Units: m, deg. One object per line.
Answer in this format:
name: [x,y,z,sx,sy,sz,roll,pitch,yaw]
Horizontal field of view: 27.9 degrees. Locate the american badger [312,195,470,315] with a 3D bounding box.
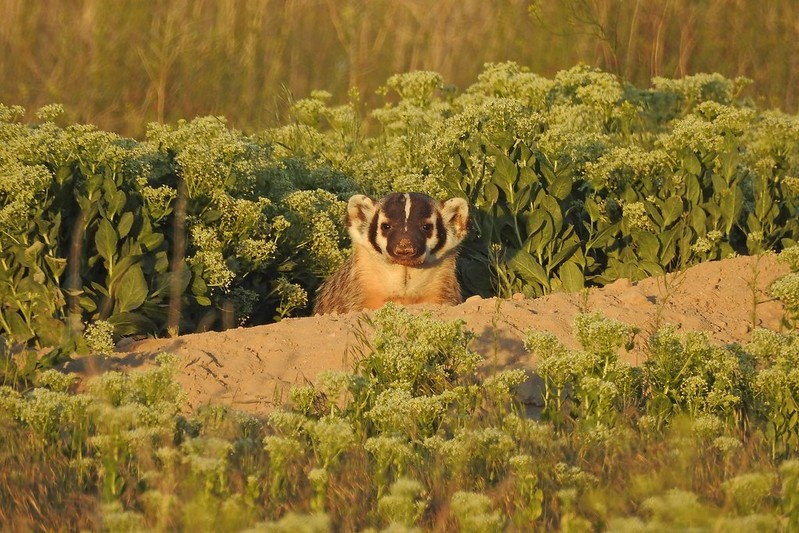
american badger: [0.036,-0.093,15.890,0.873,1.142,1.517,-5,18,-15]
